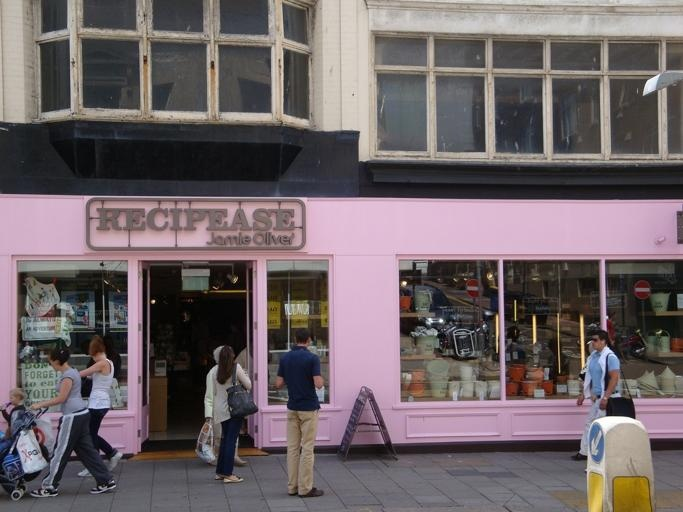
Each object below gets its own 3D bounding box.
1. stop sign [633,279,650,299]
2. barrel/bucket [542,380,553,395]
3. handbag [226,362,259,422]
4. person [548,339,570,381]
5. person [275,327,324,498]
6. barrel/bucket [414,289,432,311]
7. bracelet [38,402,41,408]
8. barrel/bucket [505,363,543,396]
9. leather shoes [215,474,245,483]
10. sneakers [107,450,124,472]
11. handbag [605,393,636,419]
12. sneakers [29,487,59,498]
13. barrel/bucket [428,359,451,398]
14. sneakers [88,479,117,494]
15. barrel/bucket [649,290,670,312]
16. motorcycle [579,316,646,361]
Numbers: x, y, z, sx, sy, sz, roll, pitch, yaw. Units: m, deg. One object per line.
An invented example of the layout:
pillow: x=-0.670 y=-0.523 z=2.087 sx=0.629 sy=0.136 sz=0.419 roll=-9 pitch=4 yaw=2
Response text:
stop sign: x=5.641 y=0.587 z=19.056 sx=0.383 sy=0.390 sz=0.069 roll=-1 pitch=2 yaw=-7
barrel/bucket: x=3.857 y=2.396 z=18.782 sx=0.232 sy=0.233 sz=0.236 roll=2 pitch=-2 yaw=0
handbag: x=-1.588 y=2.236 z=16.534 sx=0.451 sy=0.679 sz=0.506 roll=-1 pitch=14 yaw=-7
person: x=4.073 y=1.899 z=18.887 sx=0.385 sy=0.736 sz=0.297 roll=1 pitch=13 yaw=0
person: x=-0.619 y=2.482 z=16.121 sx=0.706 sy=2.553 sz=0.987 roll=0 pitch=13 yaw=-5
barrel/bucket: x=1.526 y=0.789 z=18.583 sx=0.365 sy=0.483 sz=0.381 roll=0 pitch=0 yaw=0
bracelet: x=-4.711 y=2.334 z=16.051 sx=0.063 sy=0.058 sz=0.062 roll=1 pitch=-1 yaw=-8
barrel/bucket: x=3.412 y=2.277 z=18.757 sx=0.694 sy=0.469 sz=0.488 roll=3 pitch=-4 yaw=-20
leather shoes: x=-1.797 y=3.567 z=16.557 sx=0.435 sy=0.112 sz=0.161 roll=0 pitch=-2 yaw=-3
sneakers: x=-3.718 y=3.379 z=16.937 sx=0.168 sy=0.383 sz=0.140 roll=25 pitch=27 yaw=-12
handbag: x=4.704 y=2.500 z=17.098 sx=0.577 sy=0.527 sz=0.218 roll=1 pitch=-8 yaw=1
sneakers: x=-4.619 y=3.675 z=15.949 sx=0.409 sy=0.180 sz=0.158 roll=6 pitch=-4 yaw=-12
barrel/bucket: x=1.816 y=2.206 z=18.605 sx=0.403 sy=0.635 sz=0.301 roll=0 pitch=13 yaw=-4
sneakers: x=-3.724 y=3.618 z=16.104 sx=0.430 sy=0.186 sz=0.167 roll=0 pitch=-1 yaw=0
barrel/bucket: x=6.031 y=0.835 z=19.171 sx=0.399 sy=0.378 sz=0.348 roll=3 pitch=-7 yaw=-9
motorcycle: x=5.122 y=1.531 z=19.064 sx=1.224 sy=0.666 sz=0.617 roll=-1 pitch=-1 yaw=-6
